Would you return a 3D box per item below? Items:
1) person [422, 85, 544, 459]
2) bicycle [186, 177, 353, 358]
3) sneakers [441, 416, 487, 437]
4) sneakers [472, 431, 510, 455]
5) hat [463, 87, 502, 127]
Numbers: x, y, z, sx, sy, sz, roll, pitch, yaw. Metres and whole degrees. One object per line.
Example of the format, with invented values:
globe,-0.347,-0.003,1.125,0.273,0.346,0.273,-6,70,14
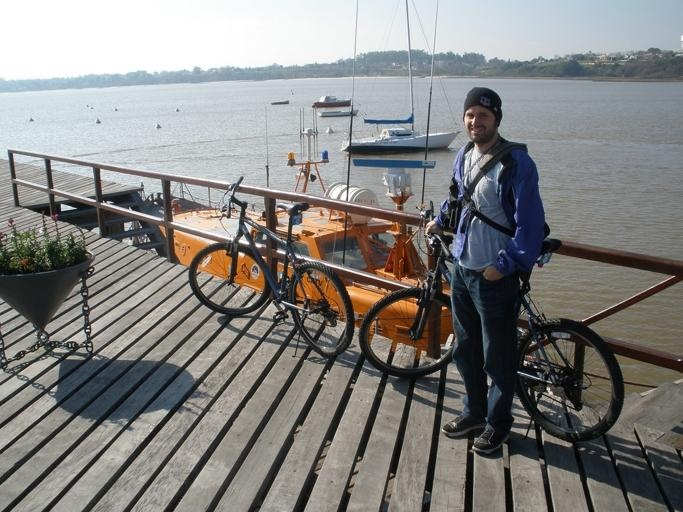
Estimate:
person,0.983,0.111,3.311,0.548,2.358,0.912,-6,23,-10
bicycle,-0.495,-0.056,5.137,2.384,1.493,1.077,21,32,34
sneakers,0.867,1.226,3.585,0.354,0.142,0.127,-2,19,-7
sneakers,1.015,1.276,3.368,0.298,0.123,0.115,-1,7,-34
hat,0.913,-0.989,3.216,0.236,0.229,0.282,-3,29,-10
